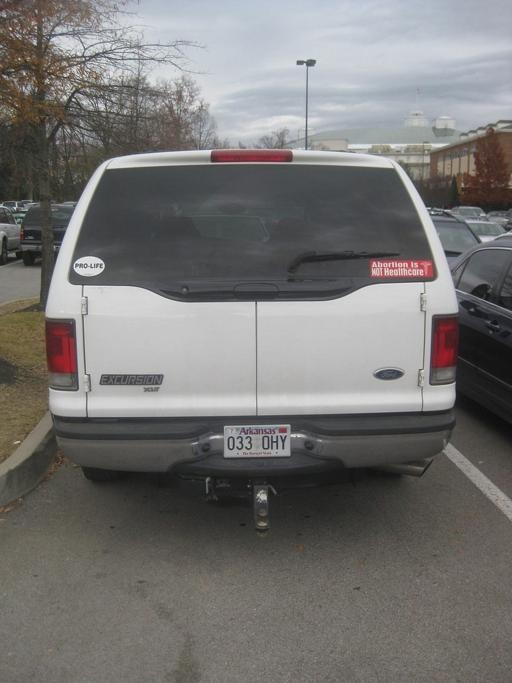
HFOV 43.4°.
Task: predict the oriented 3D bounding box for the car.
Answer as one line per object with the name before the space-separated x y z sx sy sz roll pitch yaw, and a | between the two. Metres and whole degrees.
car | -0.015 -0.112 2.755 1.386 1.000 2.176 -1 19 -1
